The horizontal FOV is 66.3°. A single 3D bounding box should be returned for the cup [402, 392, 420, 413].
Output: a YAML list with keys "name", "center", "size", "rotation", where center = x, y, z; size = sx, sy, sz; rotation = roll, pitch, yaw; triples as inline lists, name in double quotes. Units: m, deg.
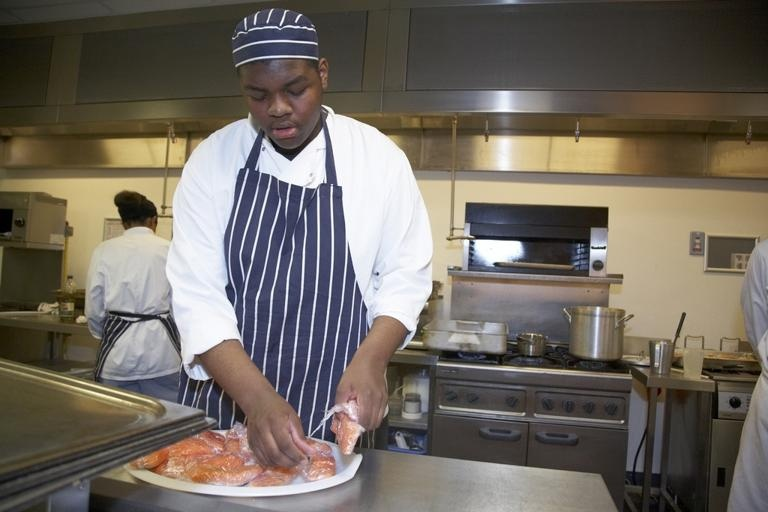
- name: "cup"
  center: [0.176, 0.911, 3.655]
  size: [0.116, 0.110, 0.092]
  rotation: [-3, -5, 23]

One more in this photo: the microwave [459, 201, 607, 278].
- name: "microwave"
  center: [1.012, -0.118, 3.962]
  size: [0.930, 0.462, 0.147]
  rotation: [2, 5, 6]

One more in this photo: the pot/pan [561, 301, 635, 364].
- name: "pot/pan"
  center: [1.324, 0.459, 3.589]
  size: [0.485, 0.313, 0.316]
  rotation: [2, -6, 8]

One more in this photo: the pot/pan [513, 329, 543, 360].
- name: "pot/pan"
  center: [0.925, 0.561, 3.738]
  size: [0.144, 0.100, 0.146]
  rotation: [4, 2, 13]

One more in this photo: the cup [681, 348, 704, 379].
- name: "cup"
  center: [1.811, 0.626, 3.452]
  size: [0.152, 0.169, 0.152]
  rotation: [3, -3, 0]

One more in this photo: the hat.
- name: "hat"
  center: [-0.395, -0.776, 2.094]
  size: [0.246, 0.146, 0.248]
  rotation: [2, 9, 22]

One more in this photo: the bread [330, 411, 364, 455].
- name: "bread"
  center: [-0.132, 0.595, 2.030]
  size: [0.057, 0.145, 0.113]
  rotation: [3, -9, -41]

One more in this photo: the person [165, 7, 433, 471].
- name: "person"
  center: [-0.289, -0.089, 2.176]
  size: [0.995, 1.605, 0.593]
  rotation: [0, 6, -17]

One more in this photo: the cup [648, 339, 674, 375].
- name: "cup"
  center: [1.638, 0.592, 3.480]
  size: [0.131, 0.182, 0.126]
  rotation: [2, 5, 0]
